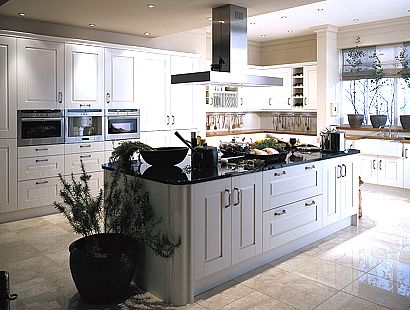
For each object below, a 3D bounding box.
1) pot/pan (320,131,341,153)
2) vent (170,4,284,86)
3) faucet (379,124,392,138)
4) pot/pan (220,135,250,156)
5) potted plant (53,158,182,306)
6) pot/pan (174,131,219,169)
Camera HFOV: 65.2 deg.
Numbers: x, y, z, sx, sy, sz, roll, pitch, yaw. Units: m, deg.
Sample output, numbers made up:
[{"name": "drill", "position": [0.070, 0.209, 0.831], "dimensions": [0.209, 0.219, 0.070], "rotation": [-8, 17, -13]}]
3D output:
[{"name": "pot/pan", "position": [1.690, -0.192, 4.442], "dimensions": [0.191, 0.279, 0.321], "rotation": [-5, 9, -26]}, {"name": "vent", "position": [0.319, -1.498, 4.381], "dimensions": [1.402, 1.046, 0.611], "rotation": [-4, 9, -23]}, {"name": "faucet", "position": [3.823, -0.500, 6.816], "dimensions": [0.243, 0.191, 0.631], "rotation": [4, 10, 28]}, {"name": "pot/pan", "position": [0.399, -0.124, 4.062], "dimensions": [0.307, 0.159, 0.240], "rotation": [-3, 2, -41]}, {"name": "potted plant", "position": [-0.847, 0.686, 2.899], "dimensions": [0.851, 1.249, 0.965], "rotation": [-7, 11, -40]}, {"name": "pot/pan", "position": [-0.049, -0.049, 3.622], "dimensions": [0.504, 0.467, 0.300], "rotation": [1, 3, 26]}]
